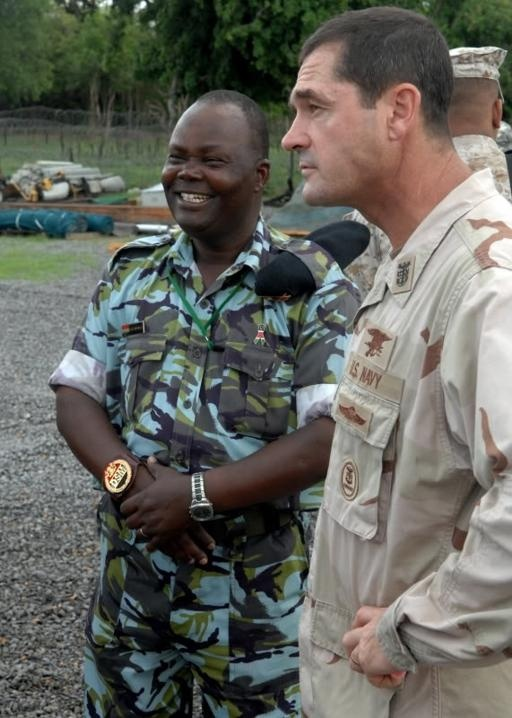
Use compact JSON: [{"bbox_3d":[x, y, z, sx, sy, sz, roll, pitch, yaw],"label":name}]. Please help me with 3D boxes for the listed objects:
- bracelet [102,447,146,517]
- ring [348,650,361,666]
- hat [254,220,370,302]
[{"bbox_3d":[-0.342,0.314,2.094,0.095,0.137,0.149,13,-8,14],"label":"bracelet"},{"bbox_3d":[0.184,0.562,1.477,0.026,0.026,0.030,0,2,0],"label":"ring"},{"bbox_3d":[0.153,-0.283,2.193,0.391,0.119,0.137,-31,34,-20],"label":"hat"}]
